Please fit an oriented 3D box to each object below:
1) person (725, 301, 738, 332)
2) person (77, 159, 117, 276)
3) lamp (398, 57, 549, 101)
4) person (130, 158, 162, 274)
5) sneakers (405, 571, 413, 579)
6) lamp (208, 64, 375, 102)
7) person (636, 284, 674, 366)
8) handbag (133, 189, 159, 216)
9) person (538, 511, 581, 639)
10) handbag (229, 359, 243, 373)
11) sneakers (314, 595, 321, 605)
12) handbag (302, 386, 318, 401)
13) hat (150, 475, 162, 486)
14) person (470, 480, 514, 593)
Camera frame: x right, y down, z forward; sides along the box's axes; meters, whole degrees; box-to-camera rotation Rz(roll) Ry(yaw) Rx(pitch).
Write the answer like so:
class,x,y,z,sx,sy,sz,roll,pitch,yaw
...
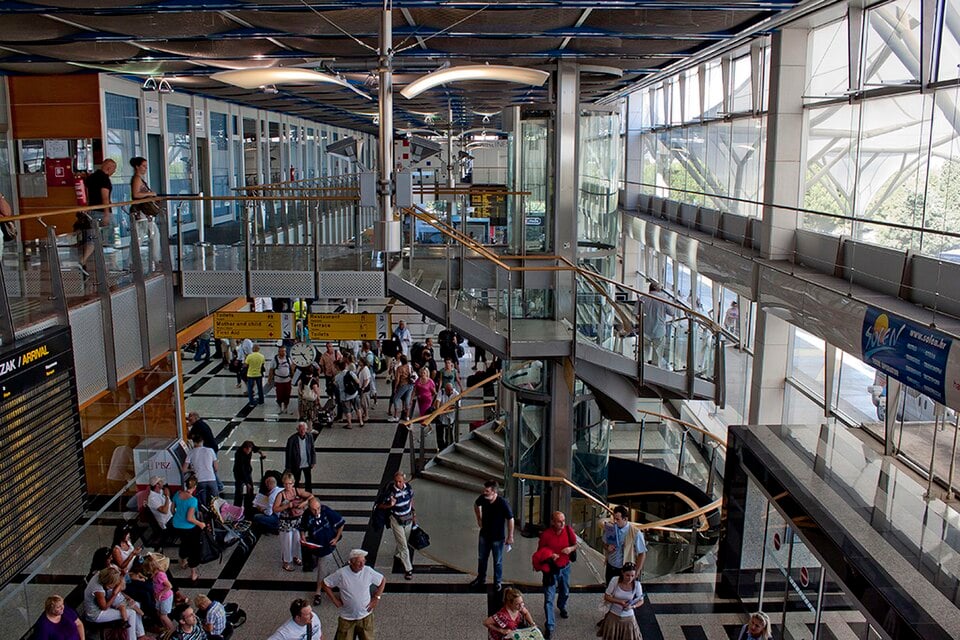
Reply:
class,x,y,z,sx,sy,sz,roll,pitch,yaw
person,7.374,-0.162,19.985,0.241,0.958,1.104,4,18,12
person,-6.009,-1.697,10.747,0.605,1.540,2.255,-8,20,-25
lamp,-0.022,-3.030,8.535,1.658,0.370,1.296,4,18,13
person,-5.879,-1.907,12.025,0.423,1.916,1.414,-8,19,-23
sneakers,-1.156,4.088,11.059,0.136,0.120,0.173,-1,18,-4
lamp,-2.255,-2.934,8.169,1.348,0.279,1.205,-9,10,-43
person,3.144,0.123,12.230,0.609,1.331,0.222,1,18,3
handbag,-5.828,-2.043,11.939,0.492,0.340,0.485,4,8,-18
person,1.069,3.584,9.934,0.497,1.825,1.044,8,19,22
handbag,-6.948,1.263,19.427,0.400,0.372,0.222,5,14,20
sneakers,-2.486,4.235,10.402,0.103,0.090,0.171,-4,18,-14
handbag,-3.937,1.687,16.052,0.484,0.435,0.286,1,12,-6
hat,-5.355,2.653,11.276,0.156,0.117,0.131,-23,39,0
person,0.222,3.337,10.508,0.459,2.007,0.828,-12,22,-34
